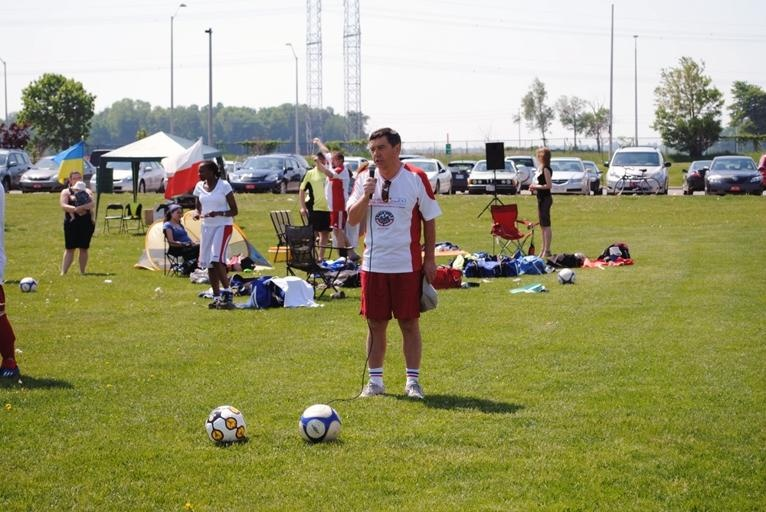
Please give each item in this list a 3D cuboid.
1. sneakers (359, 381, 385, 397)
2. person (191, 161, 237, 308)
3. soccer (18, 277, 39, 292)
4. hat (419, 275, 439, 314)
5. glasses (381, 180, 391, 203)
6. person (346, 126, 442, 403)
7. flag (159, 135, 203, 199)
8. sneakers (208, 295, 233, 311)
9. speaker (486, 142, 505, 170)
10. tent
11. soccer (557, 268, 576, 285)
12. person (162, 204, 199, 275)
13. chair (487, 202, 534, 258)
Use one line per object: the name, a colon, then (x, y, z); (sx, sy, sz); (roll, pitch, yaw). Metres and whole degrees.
sneakers: (-0.115, 1.487, 11.298); (0.134, 0.116, 0.243); (-5, -7, 34)
person: (-2.450, -0.315, 14.790); (0.562, 2.115, 0.522); (-1, 6, -10)
soccer: (-5.616, 0.433, 15.893); (0.238, 0.249, 0.244); (21, 9, 23)
hat: (0.497, 0.439, 11.294); (0.256, 0.343, 0.139); (-1, 1, -38)
glasses: (0.037, -0.716, 11.104); (0.108, 0.208, 0.071); (2, -10, 8)
person: (0.128, 0.083, 11.220); (1.099, 2.961, 0.891); (-2, 0, 2)
flag: (-4.651, -2.081, 23.865); (0.427, 1.196, 1.398); (11, -4, -30)
sneakers: (-2.371, 0.682, 14.776); (0.436, 0.198, 0.165); (1, -2, 32)
speaker: (2.694, -2.351, 23.898); (0.449, 0.667, 0.877); (0, 7, 4)
tent: (-3.537, -0.216, 18.810); (1.674, 0.738, 1.442); (1, 4, 31)
soccer: (3.062, 0.327, 16.563); (0.270, 0.227, 0.228); (0, 7, 4)
person: (-3.619, -0.261, 18.225); (0.660, 1.307, 0.550); (-1, 11, 8)
chair: (2.447, -0.380, 19.117); (0.886, 1.094, 0.778); (-5, 13, -31)
